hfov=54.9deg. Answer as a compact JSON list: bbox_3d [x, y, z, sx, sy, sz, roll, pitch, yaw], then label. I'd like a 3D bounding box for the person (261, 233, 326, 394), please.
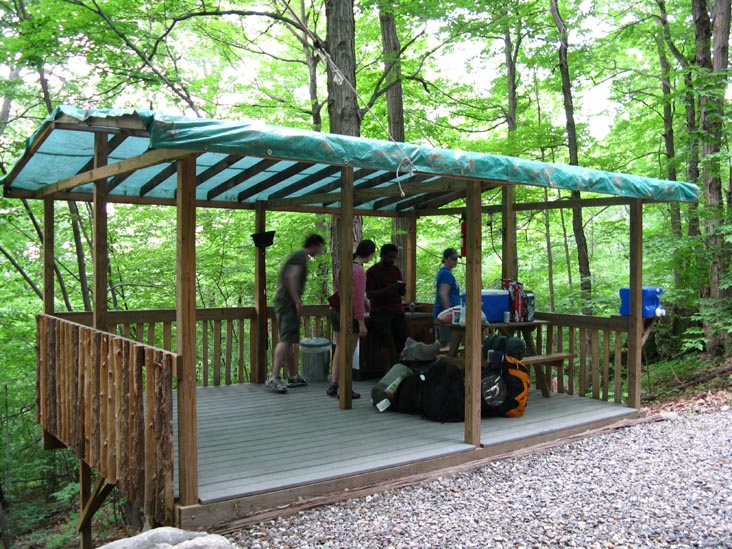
[{"bbox_3d":[-1.155,0.604,10.583,0.824,2.527,0.732,8,14,18],"label":"person"}]

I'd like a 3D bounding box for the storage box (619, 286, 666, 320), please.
[{"bbox_3d":[4.116,0.421,10.543,0.563,0.494,0.574,-2,-3,33],"label":"storage box"}]

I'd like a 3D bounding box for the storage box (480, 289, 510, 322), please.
[{"bbox_3d":[1.881,0.441,10.388,0.484,0.458,0.469,-3,4,-25],"label":"storage box"}]

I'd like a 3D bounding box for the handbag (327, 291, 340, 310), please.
[{"bbox_3d":[-0.468,0.369,10.229,0.227,0.224,0.062,-31,-7,34],"label":"handbag"}]

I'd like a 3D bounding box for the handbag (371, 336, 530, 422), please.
[{"bbox_3d":[1.257,1.481,9.872,1.600,0.737,1.183,-2,-1,6],"label":"handbag"}]

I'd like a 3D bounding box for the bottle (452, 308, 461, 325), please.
[{"bbox_3d":[1.294,0.577,10.032,0.113,0.199,0.196,5,13,5],"label":"bottle"}]

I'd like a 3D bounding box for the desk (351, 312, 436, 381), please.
[{"bbox_3d":[0.447,0.855,11.636,0.972,1.089,1.731,4,6,40],"label":"desk"}]

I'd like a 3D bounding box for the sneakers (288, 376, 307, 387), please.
[{"bbox_3d":[-1.101,1.681,11.091,0.321,0.155,0.137,2,-1,-18],"label":"sneakers"}]

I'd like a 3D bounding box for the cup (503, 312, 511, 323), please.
[{"bbox_3d":[2.100,0.628,10.418,0.140,0.237,0.148,0,-3,0],"label":"cup"}]

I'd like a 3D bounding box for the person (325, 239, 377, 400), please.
[{"bbox_3d":[-0.259,0.678,10.353,0.604,2.458,1.083,3,13,-3],"label":"person"}]

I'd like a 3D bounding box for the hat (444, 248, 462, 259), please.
[{"bbox_3d":[1.307,-0.317,10.697,0.239,0.117,0.179,-6,1,18],"label":"hat"}]

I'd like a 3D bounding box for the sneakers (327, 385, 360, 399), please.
[{"bbox_3d":[-0.344,1.755,10.500,0.200,0.190,0.461,3,-5,-42],"label":"sneakers"}]

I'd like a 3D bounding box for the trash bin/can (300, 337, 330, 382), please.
[{"bbox_3d":[-0.830,1.379,11.468,0.668,0.919,0.629,1,-2,-7],"label":"trash bin/can"}]

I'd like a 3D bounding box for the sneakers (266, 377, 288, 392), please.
[{"bbox_3d":[-1.418,1.693,10.843,0.163,0.191,0.410,2,-4,-44],"label":"sneakers"}]
